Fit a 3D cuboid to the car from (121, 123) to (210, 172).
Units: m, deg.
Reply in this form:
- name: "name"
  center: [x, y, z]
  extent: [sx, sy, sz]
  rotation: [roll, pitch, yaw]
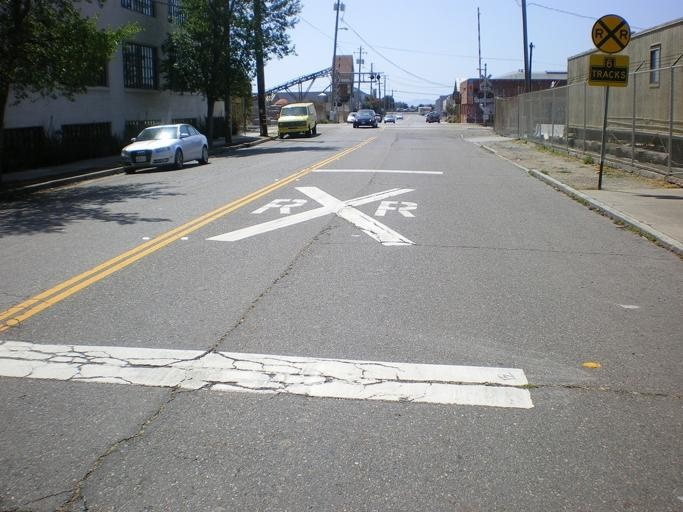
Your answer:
- name: "car"
  center: [-7.204, -4.725, 23.115]
  extent: [1.633, 1.468, 4.186]
  rotation: [1, 13, 11]

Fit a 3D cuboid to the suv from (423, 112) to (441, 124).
- name: "suv"
  center: [15.733, -23.663, 94.548]
  extent: [2.246, 1.985, 3.873]
  rotation: [-1, 20, 1]

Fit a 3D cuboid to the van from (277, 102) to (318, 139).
- name: "van"
  center: [-3.734, -11.447, 46.751]
  extent: [2.873, 2.789, 4.280]
  rotation: [8, 20, 20]
